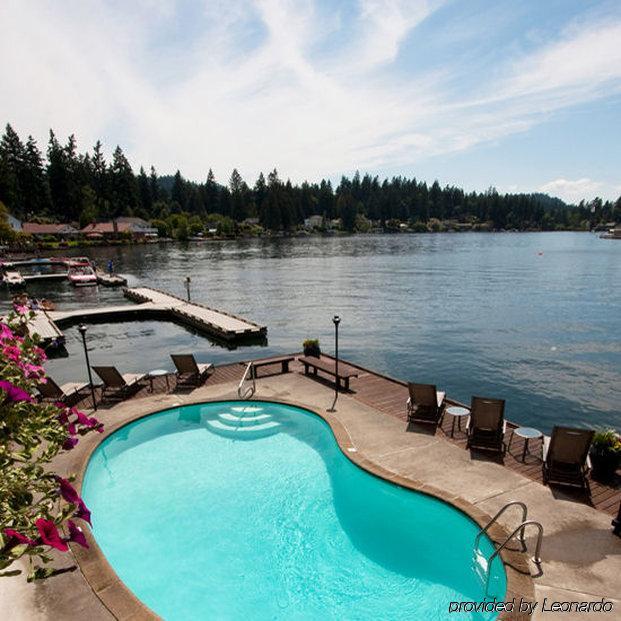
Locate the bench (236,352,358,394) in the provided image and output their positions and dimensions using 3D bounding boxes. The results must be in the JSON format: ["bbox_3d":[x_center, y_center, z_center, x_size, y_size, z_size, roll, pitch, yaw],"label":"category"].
[{"bbox_3d":[-0.161,1.967,16.693,3.962,0.786,2.987,5,10,22],"label":"bench"}]
